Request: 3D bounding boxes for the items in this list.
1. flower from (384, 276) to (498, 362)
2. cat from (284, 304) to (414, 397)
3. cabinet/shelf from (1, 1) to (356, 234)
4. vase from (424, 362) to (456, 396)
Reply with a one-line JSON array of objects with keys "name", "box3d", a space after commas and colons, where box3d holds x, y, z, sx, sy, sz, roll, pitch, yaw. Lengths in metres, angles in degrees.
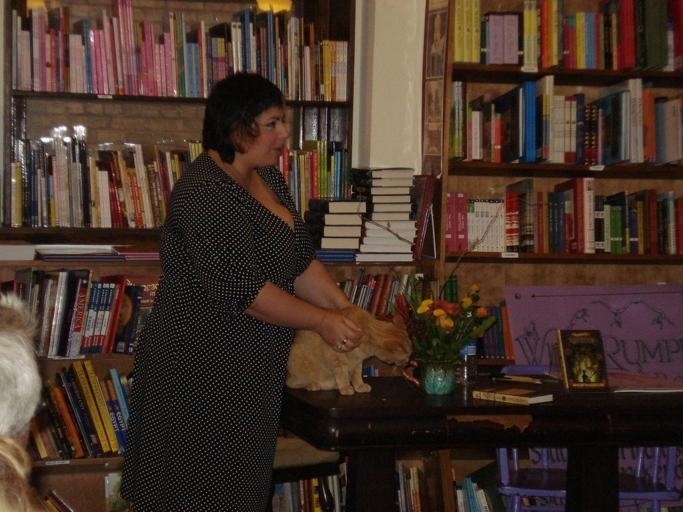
[{"name": "flower", "box3d": [0.395, 0.240, 2.963, 0.326, 0.217, 0.286, 4, -4, -4]}, {"name": "cat", "box3d": [0.016, 0.364, 3.066, 0.497, 0.355, 0.258, 4, -3, 14]}, {"name": "cabinet/shelf", "box3d": [-0.772, -0.625, 3.585, 1.257, 1.135, 0.393, 0, 2, -11]}, {"name": "vase", "box3d": [0.360, 0.450, 2.866, 0.108, 0.106, 0.104, 0, -4, 4]}]
